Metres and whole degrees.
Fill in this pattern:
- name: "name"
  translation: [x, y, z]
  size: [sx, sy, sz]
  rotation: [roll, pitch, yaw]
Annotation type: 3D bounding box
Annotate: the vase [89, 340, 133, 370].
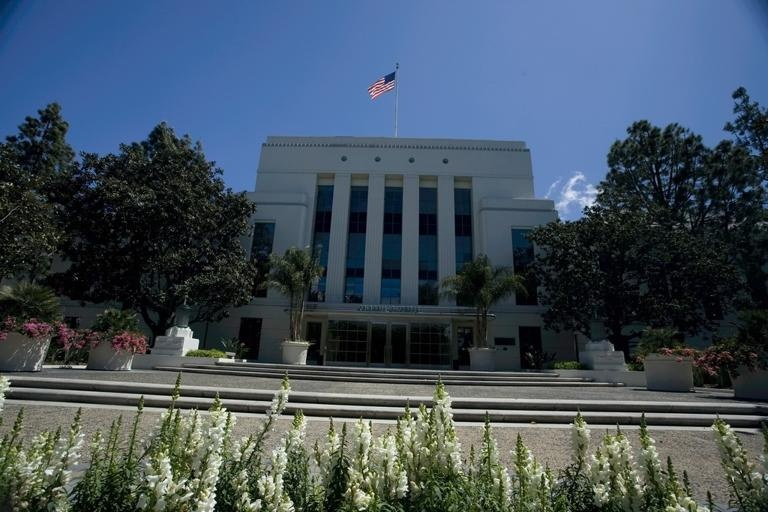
- name: "vase"
  translation: [-10.754, 3.901, 17.829]
  size: [1.160, 0.919, 1.433]
  rotation: [14, -26, -40]
